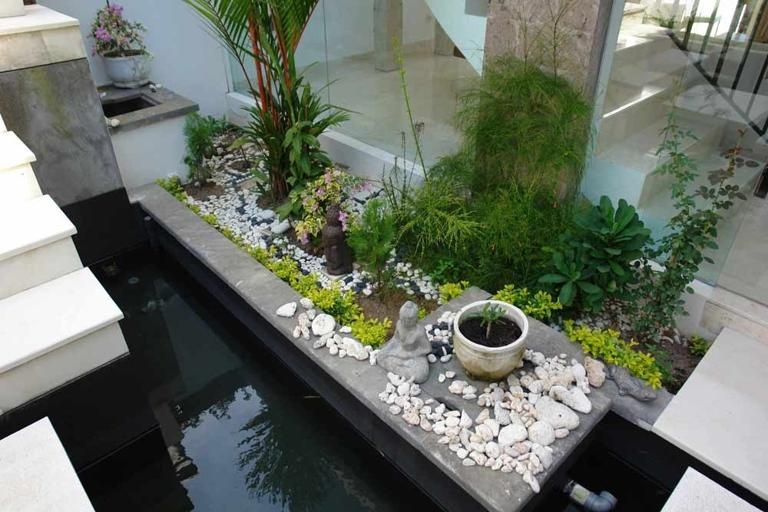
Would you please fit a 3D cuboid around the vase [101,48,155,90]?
[{"bbox_3d":[-2.861,-2.121,5.742,0.417,0.284,0.414,-30,48,-30],"label":"vase"}]

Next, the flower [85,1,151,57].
[{"bbox_3d":[-2.989,-2.494,5.674,0.584,0.580,0.509,-19,43,-19],"label":"flower"}]

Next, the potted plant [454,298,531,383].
[{"bbox_3d":[0.701,0.552,3.386,0.466,0.423,0.442,15,43,20],"label":"potted plant"}]
